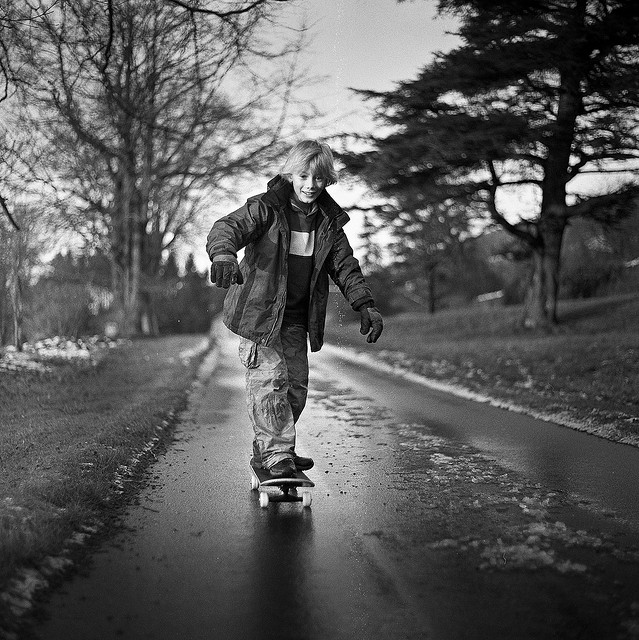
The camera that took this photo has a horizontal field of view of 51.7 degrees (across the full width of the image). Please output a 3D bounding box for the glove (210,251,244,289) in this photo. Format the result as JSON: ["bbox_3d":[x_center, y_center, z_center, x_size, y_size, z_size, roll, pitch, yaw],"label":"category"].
[{"bbox_3d":[-0.541,-0.292,3.798,0.181,0.202,0.079,2,-17,-40],"label":"glove"}]

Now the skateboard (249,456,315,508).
[{"bbox_3d":[-0.249,1.062,4.240,0.322,0.190,0.493,0,1,-13],"label":"skateboard"}]

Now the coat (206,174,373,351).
[{"bbox_3d":[-0.172,-0.356,4.373,1.239,1.093,0.569,10,2,-23],"label":"coat"}]
